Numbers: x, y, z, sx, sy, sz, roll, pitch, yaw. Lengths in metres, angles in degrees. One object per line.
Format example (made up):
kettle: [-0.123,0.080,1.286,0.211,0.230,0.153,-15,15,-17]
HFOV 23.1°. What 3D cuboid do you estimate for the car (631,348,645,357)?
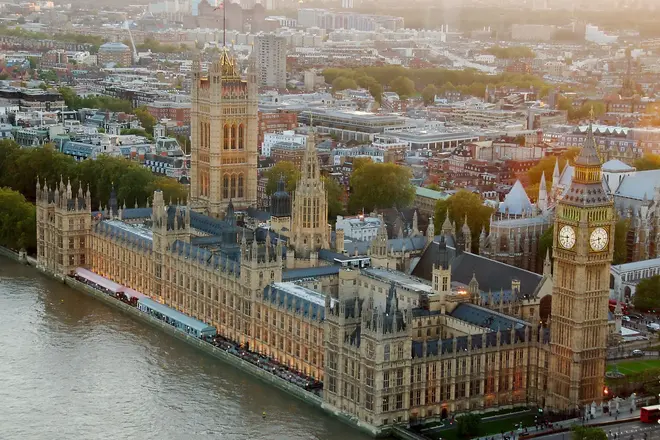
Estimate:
car: [71.083,30.682,371.712,3.410,1.006,2.136,-9,14,-35]

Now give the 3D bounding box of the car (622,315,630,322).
car: [71.448,23.784,387.857,1.731,0.835,2.261,1,12,8]
